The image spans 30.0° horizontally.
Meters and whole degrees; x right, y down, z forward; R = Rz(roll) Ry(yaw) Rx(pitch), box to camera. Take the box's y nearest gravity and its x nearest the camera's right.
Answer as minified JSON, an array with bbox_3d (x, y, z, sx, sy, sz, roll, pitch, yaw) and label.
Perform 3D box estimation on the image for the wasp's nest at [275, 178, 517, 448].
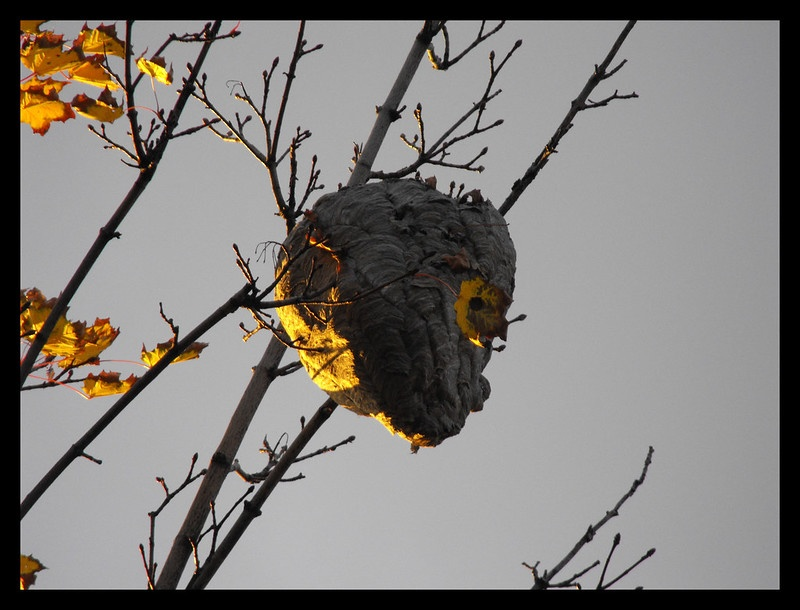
[{"bbox_3d":[-0.027,-0.015,6.004,0.951,0.735,0.878,12,-70,-1],"label":"wasp's nest"}]
